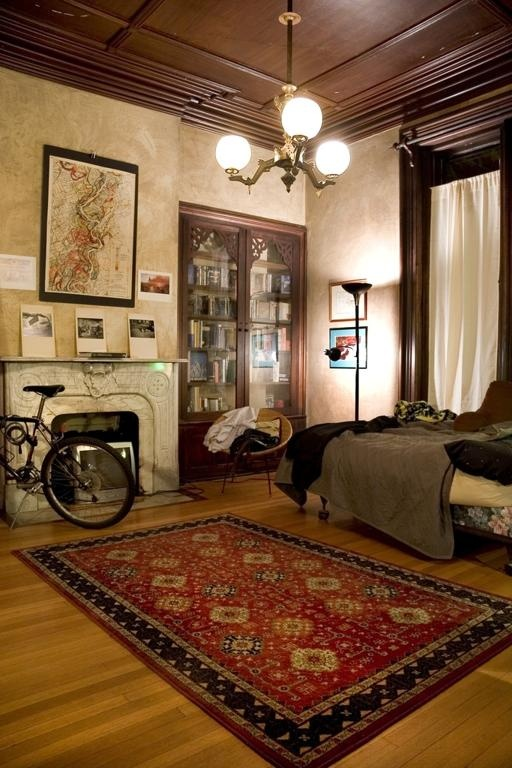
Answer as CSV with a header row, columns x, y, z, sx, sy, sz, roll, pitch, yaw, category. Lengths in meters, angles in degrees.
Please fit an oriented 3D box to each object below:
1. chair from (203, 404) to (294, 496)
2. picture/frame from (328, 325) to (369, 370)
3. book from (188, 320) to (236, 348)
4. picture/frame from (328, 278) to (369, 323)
x,y,z,sx,sy,sz,roll,pitch,yaw,category
-0.046,0.557,4.714,0.647,0.668,0.655,9,5,16,chair
0.949,-0.371,5.656,0.020,0.444,0.439,-2,6,-33,picture/frame
-0.434,-0.482,5.491,0.563,0.270,0.028,1,-1,-41,book
0.936,-0.844,5.581,0.024,0.387,0.541,1,1,-29,picture/frame
